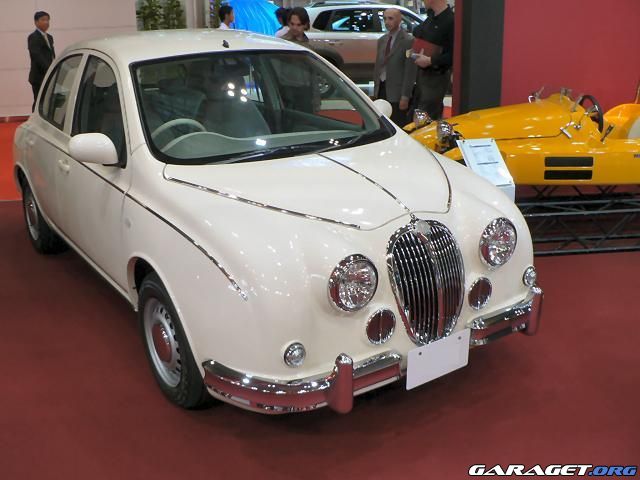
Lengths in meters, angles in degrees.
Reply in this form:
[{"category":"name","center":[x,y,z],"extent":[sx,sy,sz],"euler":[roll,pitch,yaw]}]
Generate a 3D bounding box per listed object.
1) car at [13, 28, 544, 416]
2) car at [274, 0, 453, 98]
[{"category":"car","center":[-0.550,-0.188,2.824],"extent":[1.677,1.412,2.984],"euler":[-16,31,-36]},{"category":"car","center":[0.597,-4.267,10.169],"extent":[2.800,1.472,1.416],"euler":[-3,17,-4]}]
